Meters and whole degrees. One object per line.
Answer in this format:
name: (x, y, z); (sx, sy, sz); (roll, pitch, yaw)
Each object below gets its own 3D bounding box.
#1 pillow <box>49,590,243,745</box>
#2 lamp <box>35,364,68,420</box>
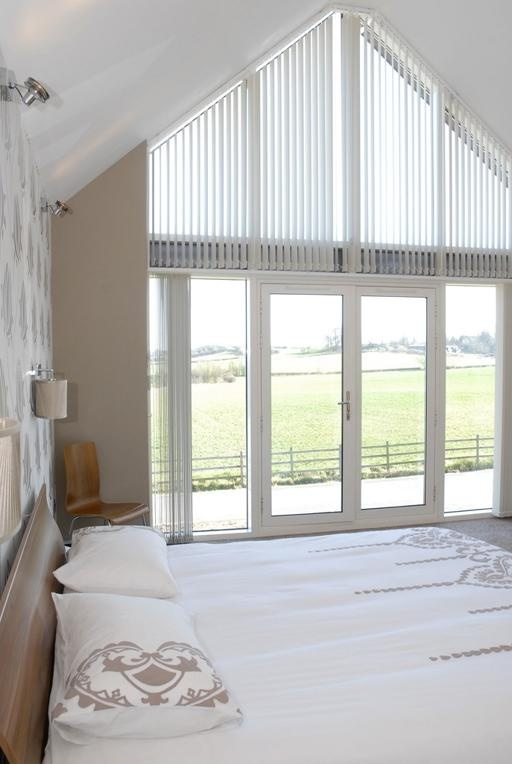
pillow: (-0.304, 0.698, 1.688); (0.428, 0.167, 0.509); (0, 5, -18)
lamp: (-0.914, 0.045, 2.905); (0.099, 0.219, 0.122); (3, 12, -7)
